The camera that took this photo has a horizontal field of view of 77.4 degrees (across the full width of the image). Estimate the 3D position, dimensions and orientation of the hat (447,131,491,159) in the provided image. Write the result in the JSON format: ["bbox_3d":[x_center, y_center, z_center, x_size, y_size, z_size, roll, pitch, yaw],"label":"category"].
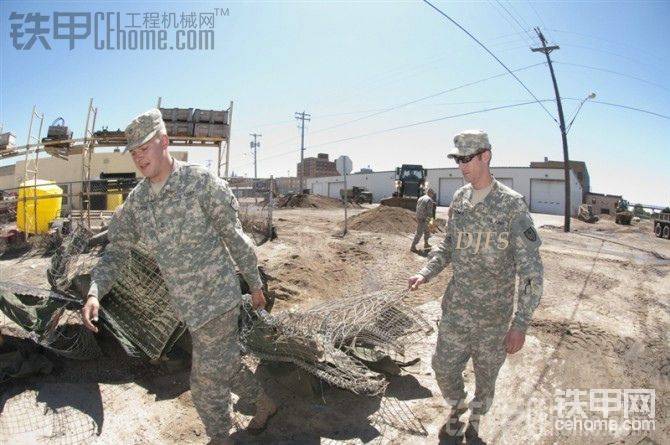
[{"bbox_3d":[1.387,-0.833,4.333,0.415,0.273,0.239,3,3,16],"label":"hat"}]

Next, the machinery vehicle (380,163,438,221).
[{"bbox_3d":[4.416,-2.259,23.633,2.328,2.159,4.255,5,20,19],"label":"machinery vehicle"}]

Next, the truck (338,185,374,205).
[{"bbox_3d":[2.083,-2.940,43.700,3.404,1.745,2.110,0,7,10],"label":"truck"}]

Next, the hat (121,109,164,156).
[{"bbox_3d":[-1.841,-0.922,4.056,0.347,0.434,0.279,0,4,-26],"label":"hat"}]

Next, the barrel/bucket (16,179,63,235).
[{"bbox_3d":[-9.497,-0.535,13.428,1.158,1.803,2.628,-1,4,-36],"label":"barrel/bucket"}]
